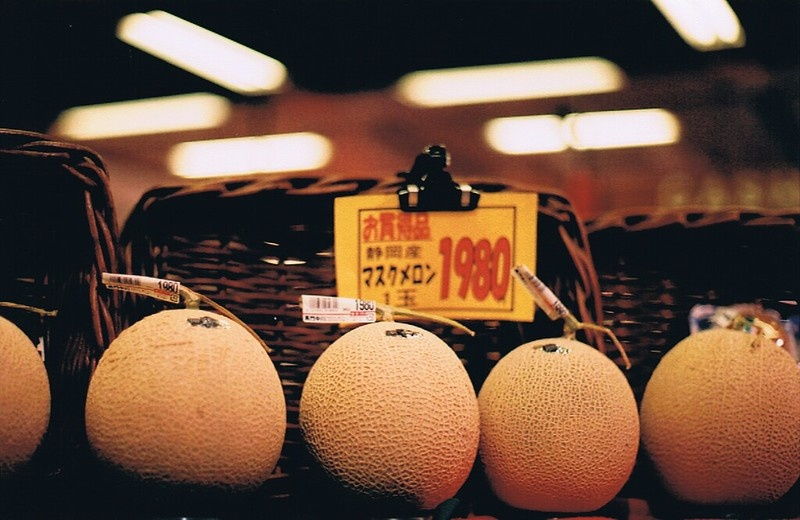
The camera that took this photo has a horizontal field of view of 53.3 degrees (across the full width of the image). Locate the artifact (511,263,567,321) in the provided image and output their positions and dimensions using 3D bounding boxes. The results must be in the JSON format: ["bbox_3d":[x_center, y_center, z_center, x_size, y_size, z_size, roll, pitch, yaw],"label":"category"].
[{"bbox_3d":[0.311,0.070,1.732,0.088,0.119,0.092,4,4,42],"label":"artifact"}]

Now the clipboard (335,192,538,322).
[{"bbox_3d":[0.072,-0.005,1.800,0.493,0.276,0.009,0,-4,29],"label":"clipboard"}]

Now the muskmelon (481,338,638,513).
[{"bbox_3d":[0.301,0.344,1.721,0.394,0.306,0.337,0,-6,1],"label":"muskmelon"}]

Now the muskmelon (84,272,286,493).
[{"bbox_3d":[-0.411,0.250,1.527,0.408,0.450,0.385,7,-17,-28],"label":"muskmelon"}]
